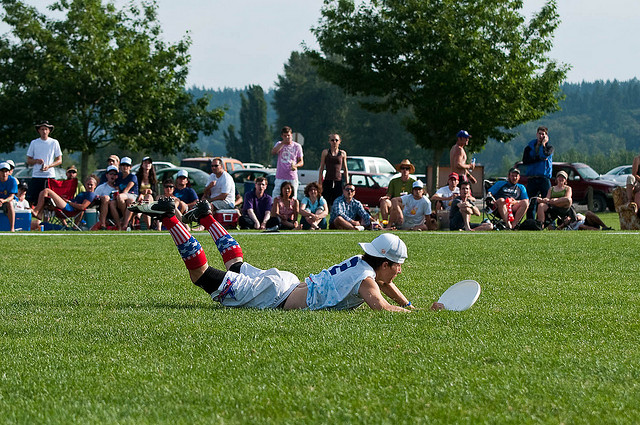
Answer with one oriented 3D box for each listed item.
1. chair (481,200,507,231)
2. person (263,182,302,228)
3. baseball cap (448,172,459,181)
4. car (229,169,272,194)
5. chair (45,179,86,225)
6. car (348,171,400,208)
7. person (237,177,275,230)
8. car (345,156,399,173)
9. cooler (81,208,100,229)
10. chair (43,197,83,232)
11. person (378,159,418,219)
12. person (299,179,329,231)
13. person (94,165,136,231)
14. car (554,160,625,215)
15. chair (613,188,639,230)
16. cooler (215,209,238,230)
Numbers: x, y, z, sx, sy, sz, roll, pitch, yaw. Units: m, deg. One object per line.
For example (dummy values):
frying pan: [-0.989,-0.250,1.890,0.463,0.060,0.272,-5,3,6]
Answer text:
chair: [5.076,0.202,33.253,0.675,0.860,0.609,-6,2,11]
person: [-0.854,-0.145,32.436,1.078,1.331,1.001,5,-5,5]
baseball cap: [3.907,-1.043,33.476,0.293,0.245,0.280,0,-1,7]
car: [-2.768,-1.160,44.213,1.684,0.787,0.972,5,10,15]
chair: [-7.011,-0.408,31.662,1.050,1.703,1.276,-4,-21,-11]
car: [1.901,-0.864,42.109,1.896,0.893,1.074,0,3,14]
person: [-1.785,-0.243,32.389,1.127,1.431,1.062,-1,11,-43]
car: [2.062,-1.909,45.773,1.843,0.848,0.999,-6,9,-44]
cooler: [-6.483,0.204,32.308,0.528,0.766,0.524,2,0,7]
chair: [-7.072,-0.001,32.027,1.076,1.249,0.774,-4,4,-23]
person: [2.379,-0.578,33.491,1.186,1.905,1.128,1,-2,8]
person: [-0.169,-0.162,32.704,0.796,1.313,1.342,-1,2,-5]
person: [-5.767,-0.399,32.266,1.372,1.819,0.648,-1,-1,36]
car: [9.973,-0.927,41.978,2.898,1.540,1.602,5,5,29]
chair: [8.633,-0.095,32.423,0.616,1.178,0.784,1,-2,-44]
cooler: [-2.670,0.215,32.501,0.573,0.415,0.562,0,2,-28]
